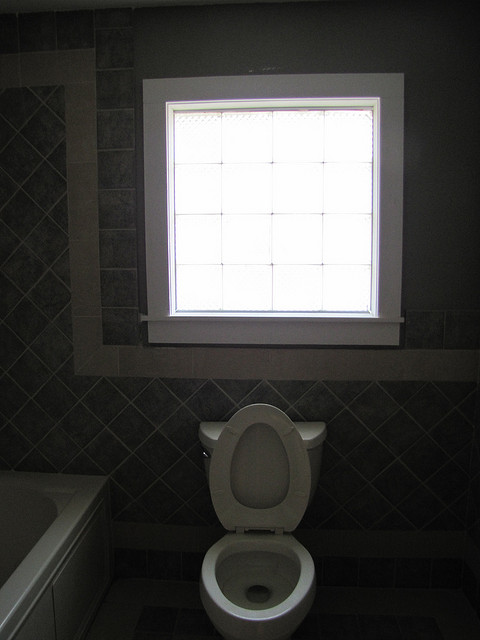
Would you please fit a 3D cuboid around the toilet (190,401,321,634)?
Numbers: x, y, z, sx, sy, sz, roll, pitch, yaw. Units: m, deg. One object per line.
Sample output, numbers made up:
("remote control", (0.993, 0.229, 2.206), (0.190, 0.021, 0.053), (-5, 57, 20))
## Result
("toilet", (0.058, 0.675, 1.950), (0.363, 0.643, 0.402), (1, -40, -3))
